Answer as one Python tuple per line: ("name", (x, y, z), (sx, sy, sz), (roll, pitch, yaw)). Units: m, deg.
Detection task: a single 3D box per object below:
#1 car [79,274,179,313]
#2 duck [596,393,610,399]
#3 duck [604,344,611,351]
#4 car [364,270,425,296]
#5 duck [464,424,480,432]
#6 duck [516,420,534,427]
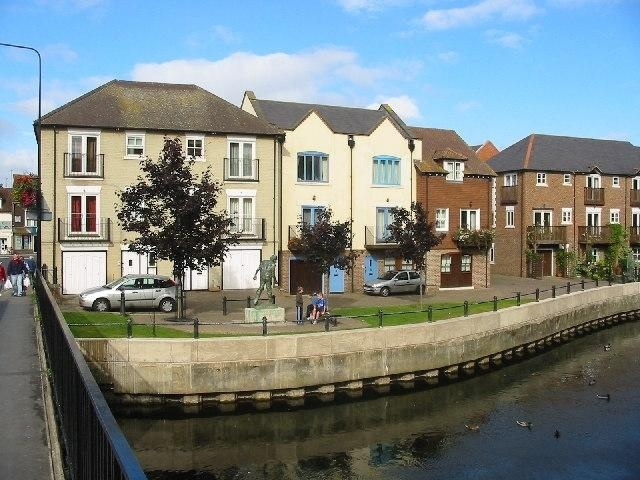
("car", (-9.438, 2.723, 50.561), (4.247, 1.492, 1.996), (2, -1, -13))
("duck", (12.808, 7.125, 46.281), (0.554, 0.222, 0.661), (-3, 0, 1))
("duck", (15.402, 5.757, 54.866), (0.277, 0.142, 0.381), (-2, 5, 7))
("car", (4.328, 2.489, 58.934), (2.575, 1.131, 1.638), (1, -2, -24))
("duck", (6.440, 7.963, 43.355), (0.617, 0.256, 0.701), (-2, 0, 19))
("duck", (8.742, 7.884, 43.551), (0.654, 0.285, 0.744), (-3, 0, -16))
